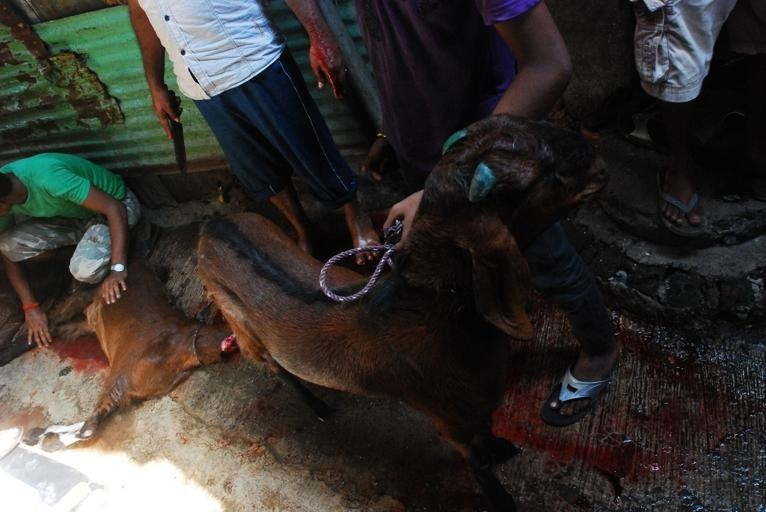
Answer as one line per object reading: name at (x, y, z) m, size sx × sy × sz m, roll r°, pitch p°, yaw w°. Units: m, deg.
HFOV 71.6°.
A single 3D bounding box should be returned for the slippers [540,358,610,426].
slippers at (1.219, 0.852, 3.286) m, size 0.536 × 0.127 × 0.237 m, roll -46°, pitch 54°, yaw -7°
